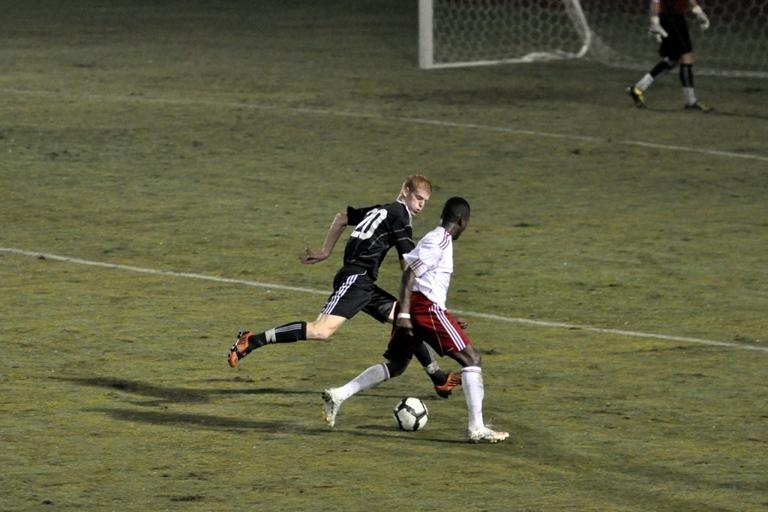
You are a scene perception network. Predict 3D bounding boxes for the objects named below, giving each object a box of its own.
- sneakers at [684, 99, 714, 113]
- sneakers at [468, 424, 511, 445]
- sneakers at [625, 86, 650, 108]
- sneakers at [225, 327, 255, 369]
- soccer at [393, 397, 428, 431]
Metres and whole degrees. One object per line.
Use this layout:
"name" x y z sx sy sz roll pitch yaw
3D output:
"sneakers" 5.145 -2.474 26.699 0.410 0.112 0.186 5 -23 -21
"sneakers" 1.094 1.891 17.227 0.551 0.166 0.154 -4 16 -5
"sneakers" 4.145 -2.582 26.643 0.234 0.218 0.535 -29 -26 -4
"sneakers" -1.549 1.017 17.609 0.234 0.368 0.269 6 12 -4
"soccer" 0.283 1.738 17.553 0.533 0.365 0.435 2 10 0
